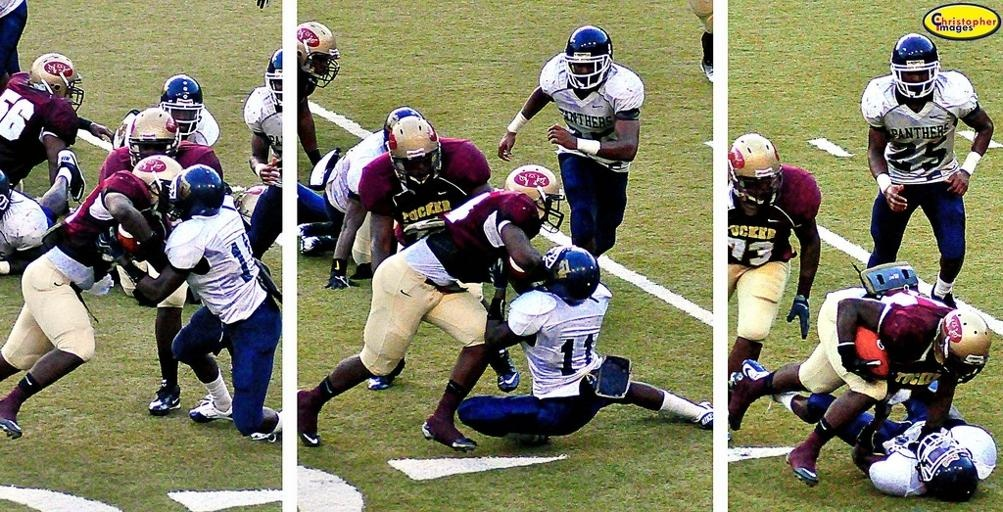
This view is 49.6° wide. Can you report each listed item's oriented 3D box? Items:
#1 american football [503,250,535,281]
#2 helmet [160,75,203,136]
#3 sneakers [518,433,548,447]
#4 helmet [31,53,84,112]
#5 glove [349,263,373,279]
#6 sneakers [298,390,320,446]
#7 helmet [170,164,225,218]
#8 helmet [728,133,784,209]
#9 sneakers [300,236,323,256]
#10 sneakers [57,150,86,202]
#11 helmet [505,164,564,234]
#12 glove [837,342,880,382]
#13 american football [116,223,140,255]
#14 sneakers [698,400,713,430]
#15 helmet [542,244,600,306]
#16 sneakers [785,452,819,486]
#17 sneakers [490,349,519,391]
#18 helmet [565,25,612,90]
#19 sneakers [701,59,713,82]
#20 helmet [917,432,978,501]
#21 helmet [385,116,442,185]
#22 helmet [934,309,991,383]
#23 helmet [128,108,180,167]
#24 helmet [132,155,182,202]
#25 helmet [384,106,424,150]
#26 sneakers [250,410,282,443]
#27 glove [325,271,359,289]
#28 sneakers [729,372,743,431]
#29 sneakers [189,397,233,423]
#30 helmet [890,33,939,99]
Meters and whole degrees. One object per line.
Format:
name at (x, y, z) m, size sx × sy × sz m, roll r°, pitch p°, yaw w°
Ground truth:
american football at (0.128, 0.078, 8.378) m, size 0.180 × 0.185 × 0.188 m, roll 47°, pitch 5°, yaw 23°
helmet at (-3.014, -1.477, 10.328) m, size 0.445 × 0.399 × 0.528 m, roll -3°, pitch 28°, yaw -21°
sneakers at (0.267, 1.447, 8.575) m, size 0.167 × 0.053 × 0.167 m, roll 1°, pitch -2°, yaw -4°
helmet at (-4.455, -1.738, 10.828) m, size 0.466 × 0.462 × 0.572 m, roll 17°, pitch 11°, yaw 33°
glove at (-1.270, 0.138, 10.015) m, size 0.248 × 0.130 × 0.063 m, roll -8°, pitch 59°, yaw -4°
sneakers at (-1.517, 1.281, 8.568) m, size 0.175 × 0.442 × 0.128 m, roll -1°, pitch 19°, yaw -9°
helmet at (-2.336, -0.478, 8.449) m, size 0.526 × 0.299 × 0.449 m, roll 3°, pitch -8°, yaw 0°
helmet at (2.117, -0.736, 8.979) m, size 0.499 × 0.454 × 0.551 m, roll -7°, pitch 35°, yaw 0°
sneakers at (-1.817, -0.109, 10.318) m, size 0.170 × 0.171 × 0.220 m, roll -4°, pitch 17°, yaw -19°
sneakers at (-4.122, -0.772, 10.455) m, size 0.202 × 0.459 × 0.200 m, roll -9°, pitch 24°, yaw 10°
helmet at (0.250, -0.504, 9.104) m, size 0.663 × 0.485 × 0.468 m, roll 10°, pitch 2°, yaw -8°
glove at (2.766, 0.769, 8.325) m, size 0.279 × 0.316 × 0.160 m, roll 28°, pitch 35°, yaw 22°
american football at (-2.939, -0.128, 8.523) m, size 0.205 × 0.203 × 0.220 m, roll 2°, pitch 13°, yaw -25°
sneakers at (1.646, 1.277, 8.710) m, size 0.097 × 0.210 × 0.104 m, roll 1°, pitch 9°, yaw -3°
helmet at (0.537, 0.150, 8.289) m, size 0.423 × 0.350 × 0.485 m, roll -2°, pitch 18°, yaw -19°
sneakers at (2.354, 1.650, 8.479) m, size 0.265 × 0.232 × 0.219 m, roll 8°, pitch 18°, yaw 18°
sneakers at (0.037, 0.923, 9.080) m, size 0.254 × 0.376 × 0.240 m, roll 2°, pitch 18°, yaw -1°
helmet at (0.817, -1.824, 9.743) m, size 0.504 × 0.459 × 0.577 m, roll 4°, pitch 32°, yaw 17°
sneakers at (2.319, -2.057, 12.155) m, size 0.186 × 0.200 × 0.074 m, roll 14°, pitch 23°, yaw 42°
helmet at (3.371, 1.589, 8.234) m, size 0.451 × 0.493 × 0.235 m, roll 6°, pitch 19°, yaw 12°
helmet at (-0.694, -0.880, 8.820) m, size 0.481 × 0.435 × 0.529 m, roll -10°, pitch 32°, yaw -1°
helmet at (3.452, 0.687, 8.167) m, size 0.365 × 0.548 × 0.211 m, roll 8°, pitch 19°, yaw 17°
helmet at (-3.010, -1.085, 9.602) m, size 0.499 × 0.420 × 0.528 m, roll 5°, pitch 26°, yaw 4°
helmet at (-2.734, -0.650, 8.912) m, size 0.487 × 0.320 × 0.331 m, roll 4°, pitch 3°, yaw 20°
helmet at (-0.866, -1.085, 9.198) m, size 0.385 × 0.357 × 0.374 m, roll 2°, pitch 4°, yaw -7°
sneakers at (-1.892, 1.398, 8.867) m, size 0.288 × 0.297 × 0.218 m, roll 13°, pitch 50°, yaw -28°
glove at (-1.461, 0.228, 9.879) m, size 0.404 × 0.134 × 0.115 m, roll -2°, pitch 15°, yaw 2°
sneakers at (1.919, 1.183, 8.926) m, size 0.121 × 0.433 × 0.281 m, roll 6°, pitch 18°, yaw 11°
sneakers at (-2.287, 1.288, 8.965) m, size 0.489 × 0.145 × 0.183 m, roll 8°, pitch 52°, yaw -1°
helmet at (3.690, -1.743, 9.640) m, size 0.437 × 0.399 × 0.508 m, roll -3°, pitch 32°, yaw 15°
